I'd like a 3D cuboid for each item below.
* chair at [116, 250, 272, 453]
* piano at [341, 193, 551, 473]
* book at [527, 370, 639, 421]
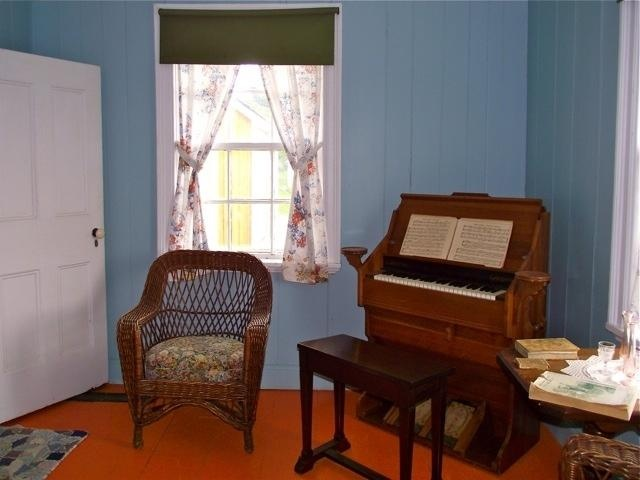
[{"bbox_3d":[-0.732,0.711,3.394,0.927,1.205,0.927,4,4,14],"label":"chair"},{"bbox_3d":[0.791,0.580,3.036,0.535,1.530,1.444,-4,5,-45],"label":"piano"},{"bbox_3d":[1.061,0.619,2.060,0.412,0.071,0.214,4,12,17],"label":"book"}]
